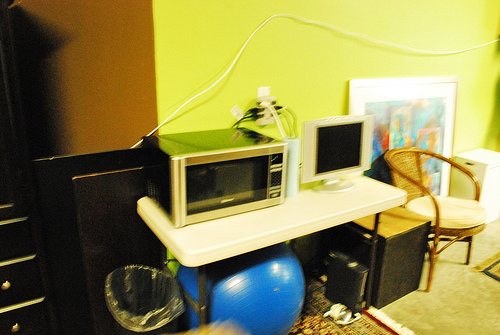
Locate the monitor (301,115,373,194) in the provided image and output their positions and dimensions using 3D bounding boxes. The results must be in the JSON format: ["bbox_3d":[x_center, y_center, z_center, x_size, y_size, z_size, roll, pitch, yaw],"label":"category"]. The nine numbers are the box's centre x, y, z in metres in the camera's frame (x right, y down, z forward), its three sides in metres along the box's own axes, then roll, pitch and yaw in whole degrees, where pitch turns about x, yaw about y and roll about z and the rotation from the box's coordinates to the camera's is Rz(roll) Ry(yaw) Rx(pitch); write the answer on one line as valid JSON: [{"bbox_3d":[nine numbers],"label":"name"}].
[{"bbox_3d":[0.620,-0.094,2.662,0.533,0.401,0.181,-10,19,-29],"label":"monitor"}]

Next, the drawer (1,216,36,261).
[{"bbox_3d":[-1.331,0.402,2.162,0.176,0.221,0.041,-8,20,-24],"label":"drawer"}]

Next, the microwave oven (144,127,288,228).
[{"bbox_3d":[-0.221,0.028,2.376,0.785,0.466,0.444,-8,19,-25],"label":"microwave oven"}]
